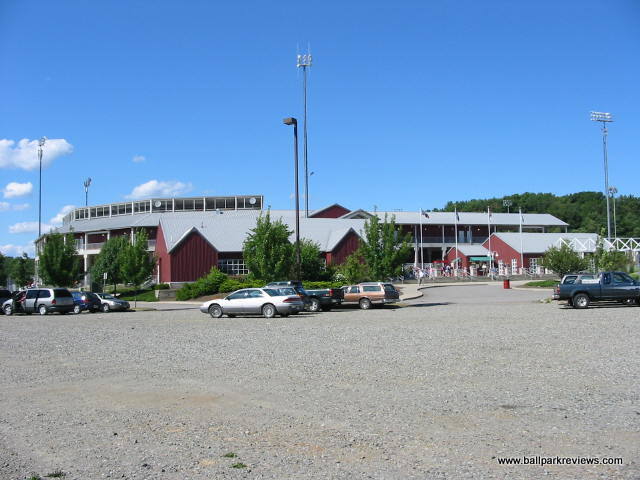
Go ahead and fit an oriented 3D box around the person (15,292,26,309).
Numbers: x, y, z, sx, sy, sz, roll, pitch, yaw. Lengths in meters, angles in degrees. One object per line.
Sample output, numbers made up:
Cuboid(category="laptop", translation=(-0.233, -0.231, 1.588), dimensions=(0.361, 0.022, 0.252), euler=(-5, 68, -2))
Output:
Cuboid(category="person", translation=(-16.915, 3.483, 36.863), dimensions=(0.961, 1.143, 0.425), euler=(0, -2, 41))
